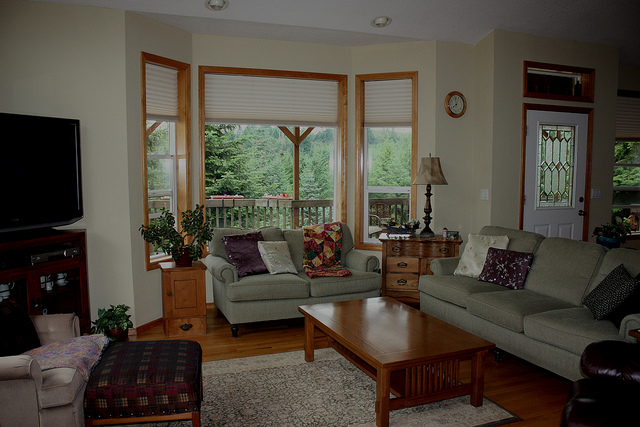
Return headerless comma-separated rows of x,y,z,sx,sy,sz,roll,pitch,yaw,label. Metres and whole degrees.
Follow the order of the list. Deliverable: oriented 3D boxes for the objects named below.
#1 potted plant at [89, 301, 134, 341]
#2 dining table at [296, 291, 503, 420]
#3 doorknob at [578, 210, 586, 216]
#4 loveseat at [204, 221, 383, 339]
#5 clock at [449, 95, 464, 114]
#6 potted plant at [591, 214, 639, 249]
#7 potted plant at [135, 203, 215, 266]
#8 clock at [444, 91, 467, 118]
-2.190,1.101,4.715,0.460,0.310,0.457,0,-1,-20,potted plant
0.756,1.162,3.915,1.014,0.457,1.299,-1,5,-21,dining table
3.646,-0.008,6.230,0.123,0.083,0.020,-4,14,-15,doorknob
-0.307,0.759,5.569,2.053,1.156,1.060,-1,4,-22,loveseat
1.861,-1.496,6.116,0.236,0.223,0.053,0,2,-23,clock
4.143,0.262,6.309,0.525,0.347,0.512,-5,6,-30,potted plant
-1.709,0.241,5.394,0.796,0.622,0.763,0,-4,-17,potted plant
1.861,-1.493,6.140,0.315,0.281,0.304,0,7,4,clock
